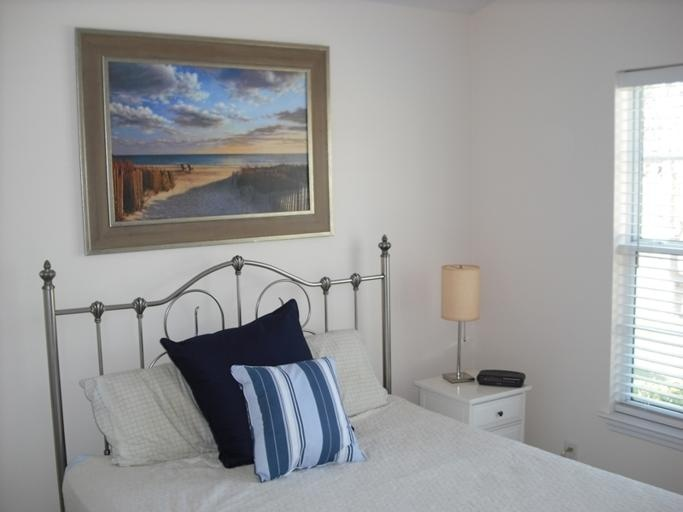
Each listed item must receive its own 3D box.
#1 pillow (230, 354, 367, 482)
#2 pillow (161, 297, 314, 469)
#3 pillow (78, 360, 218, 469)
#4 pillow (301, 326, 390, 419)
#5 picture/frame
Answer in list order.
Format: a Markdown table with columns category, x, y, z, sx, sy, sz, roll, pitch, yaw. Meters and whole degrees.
| category | x | y | z | sx | sy | sz | roll | pitch | yaw |
| --- | --- | --- | --- | --- | --- | --- | --- | --- | --- |
| pillow | -0.178 | 0.666 | 2.322 | 0.497 | 0.408 | 0.264 | -5 | 10 | -20 |
| pillow | -0.470 | 0.588 | 2.425 | 0.616 | 0.609 | 0.195 | -15 | -9 | -43 |
| pillow | -0.837 | 0.691 | 2.393 | 0.501 | 0.350 | 0.319 | -6 | 11 | -28 |
| pillow | 0.002 | 0.611 | 2.829 | 0.118 | 0.397 | 0.393 | -32 | -18 | 33 |
| picture/frame | -0.770 | -0.628 | 2.896 | 1.208 | 0.998 | 0.046 | -5 | 10 | -30 |
